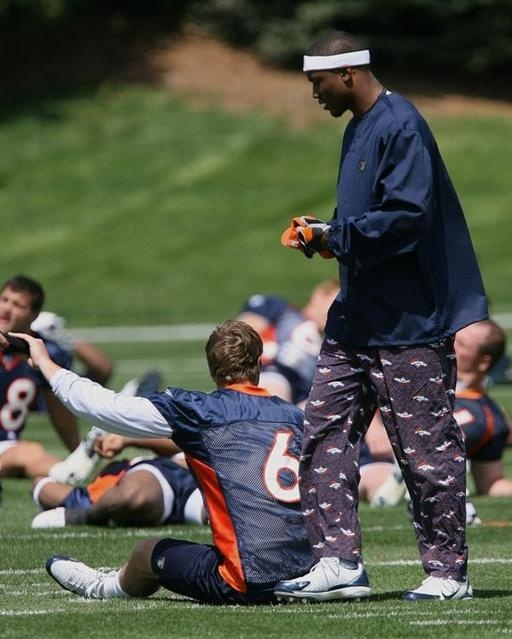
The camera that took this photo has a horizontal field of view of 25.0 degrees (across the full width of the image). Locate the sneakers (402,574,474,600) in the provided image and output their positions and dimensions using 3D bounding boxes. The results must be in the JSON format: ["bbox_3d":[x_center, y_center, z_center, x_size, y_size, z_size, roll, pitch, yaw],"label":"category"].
[{"bbox_3d":[0.621,0.912,3.941,0.269,0.081,0.078,2,-7,-9],"label":"sneakers"}]

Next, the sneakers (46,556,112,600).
[{"bbox_3d":[-0.633,0.906,4.086,0.300,0.083,0.118,12,8,-6],"label":"sneakers"}]

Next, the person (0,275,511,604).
[{"bbox_3d":[-0.029,0.405,4.197,1.224,1.116,1.397,-2,-4,41],"label":"person"}]

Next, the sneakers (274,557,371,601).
[{"bbox_3d":[0.243,0.895,3.944,0.365,0.136,0.124,3,-10,-17],"label":"sneakers"}]
